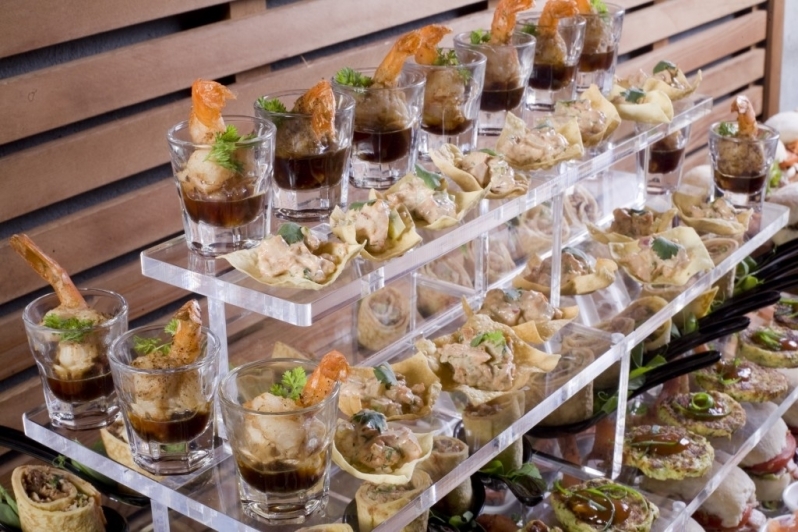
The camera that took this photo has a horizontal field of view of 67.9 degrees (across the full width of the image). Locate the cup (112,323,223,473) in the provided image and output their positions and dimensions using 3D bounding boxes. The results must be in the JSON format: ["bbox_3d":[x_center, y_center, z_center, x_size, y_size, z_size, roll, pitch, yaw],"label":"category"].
[{"bbox_3d":[-0.371,0.209,0.942,0.158,0.186,0.173,-5,34,3],"label":"cup"}]

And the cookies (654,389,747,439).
[{"bbox_3d":[0.846,0.413,1.662,0.154,0.053,0.167,-7,21,-10],"label":"cookies"}]

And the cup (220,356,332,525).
[{"bbox_3d":[-0.187,0.276,0.958,0.177,0.233,0.178,0,27,0],"label":"cup"}]
